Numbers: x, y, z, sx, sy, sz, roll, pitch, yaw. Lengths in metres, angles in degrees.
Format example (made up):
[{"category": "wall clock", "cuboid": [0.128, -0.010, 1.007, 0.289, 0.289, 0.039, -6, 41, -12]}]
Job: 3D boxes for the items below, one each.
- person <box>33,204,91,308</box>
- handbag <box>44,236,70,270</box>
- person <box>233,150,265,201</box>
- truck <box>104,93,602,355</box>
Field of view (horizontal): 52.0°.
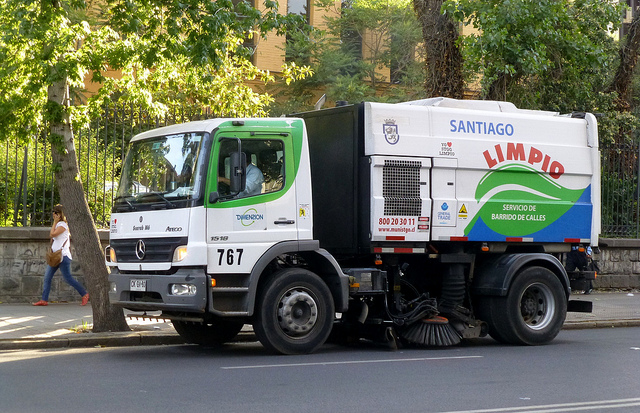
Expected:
[{"category": "person", "cuboid": [-6.307, 1.165, 15.844, 1.135, 2.407, 1.169, -1, 2, -30]}, {"category": "handbag", "cuboid": [-6.245, 1.095, 15.542, 0.480, 0.780, 0.303, 0, 2, -18]}, {"category": "person", "cuboid": [-1.269, -0.406, 11.318, 0.631, 1.178, 0.971, 0, 0, -5]}, {"category": "truck", "cuboid": [1.014, 0.395, 14.089, 9.458, 5.092, 5.091, 2, -4, -29]}]
